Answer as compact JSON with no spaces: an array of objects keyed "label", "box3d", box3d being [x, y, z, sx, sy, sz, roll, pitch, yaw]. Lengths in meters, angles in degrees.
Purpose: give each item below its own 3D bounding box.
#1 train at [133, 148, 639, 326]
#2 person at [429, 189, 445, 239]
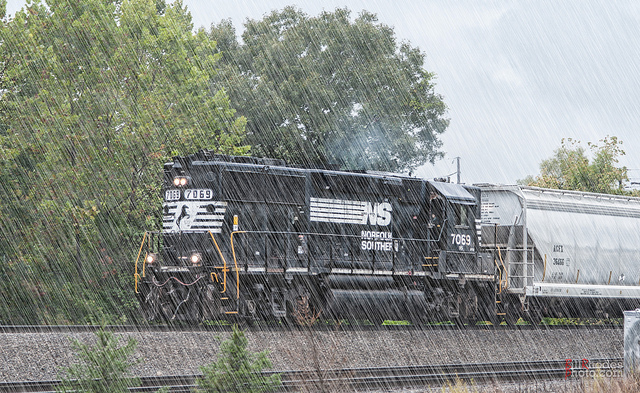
[{"label":"train","box3d":[5.276,1.600,39.507,27.471,7.718,6.363,5,-8,-27]},{"label":"person","box3d":[4.110,0.583,35.952,0.516,1.926,0.339,7,5,37]}]
